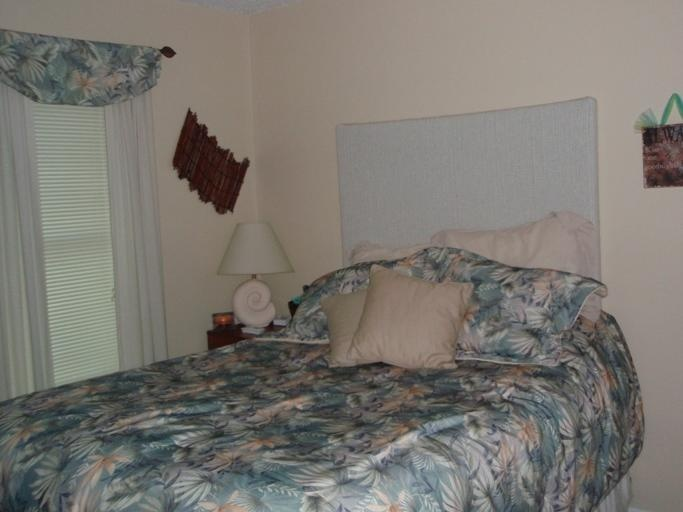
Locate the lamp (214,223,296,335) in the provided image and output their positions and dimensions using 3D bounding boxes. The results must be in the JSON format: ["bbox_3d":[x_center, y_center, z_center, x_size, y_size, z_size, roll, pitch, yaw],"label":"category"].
[{"bbox_3d":[-0.510,0.112,4.177,0.607,0.917,0.620,-3,4,-36],"label":"lamp"}]
